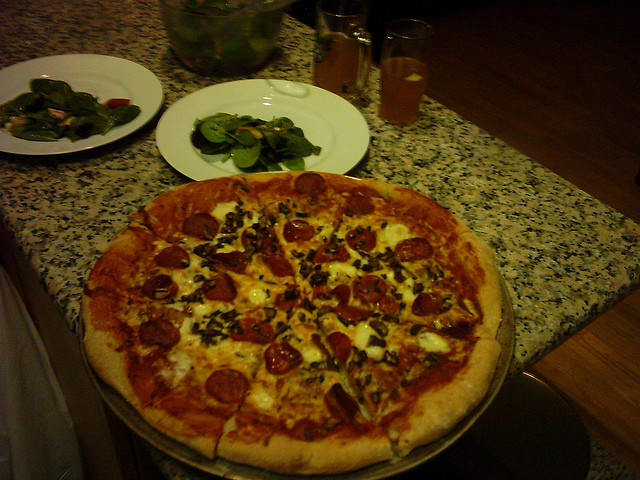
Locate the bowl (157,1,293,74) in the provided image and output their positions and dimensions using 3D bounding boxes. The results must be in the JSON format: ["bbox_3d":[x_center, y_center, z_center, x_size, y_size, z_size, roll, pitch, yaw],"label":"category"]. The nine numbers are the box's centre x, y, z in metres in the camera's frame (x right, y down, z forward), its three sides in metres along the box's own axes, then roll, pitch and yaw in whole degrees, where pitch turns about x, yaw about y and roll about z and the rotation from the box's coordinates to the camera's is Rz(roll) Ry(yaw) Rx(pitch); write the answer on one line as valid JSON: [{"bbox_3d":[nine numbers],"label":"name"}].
[{"bbox_3d":[-0.280,-0.632,1.600,0.330,0.156,0.304,1,22,0],"label":"bowl"}]

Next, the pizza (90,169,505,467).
[{"bbox_3d":[-0.045,0.136,1.153,0.900,0.114,0.726,13,56,8],"label":"pizza"}]

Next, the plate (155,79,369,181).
[{"bbox_3d":[-0.163,-0.334,1.459,0.578,0.067,0.438,-6,55,-5],"label":"plate"}]
